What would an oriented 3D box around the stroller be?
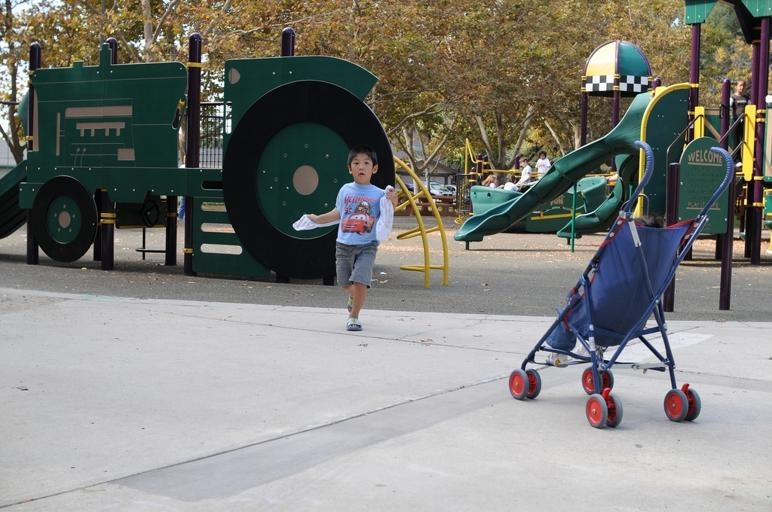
[{"bbox_3d":[1.920,0.169,6.827,1.221,2.105,1.285,-8,14,-42],"label":"stroller"}]
